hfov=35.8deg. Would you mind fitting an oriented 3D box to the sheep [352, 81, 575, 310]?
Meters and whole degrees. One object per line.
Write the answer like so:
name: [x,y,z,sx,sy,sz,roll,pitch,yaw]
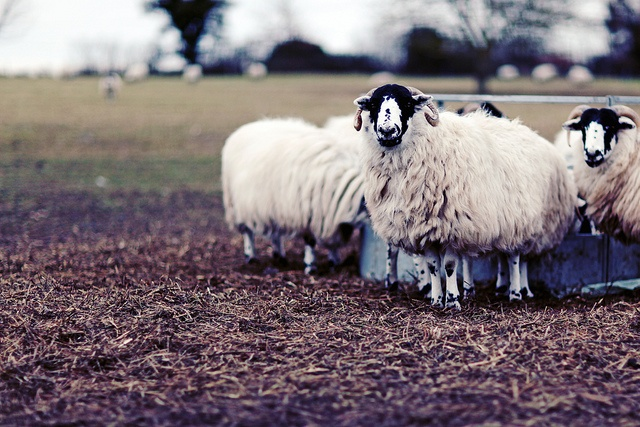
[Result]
sheep: [1.864,-0.074,13.063,4.054,2.709,2.096,1,3,-45]
